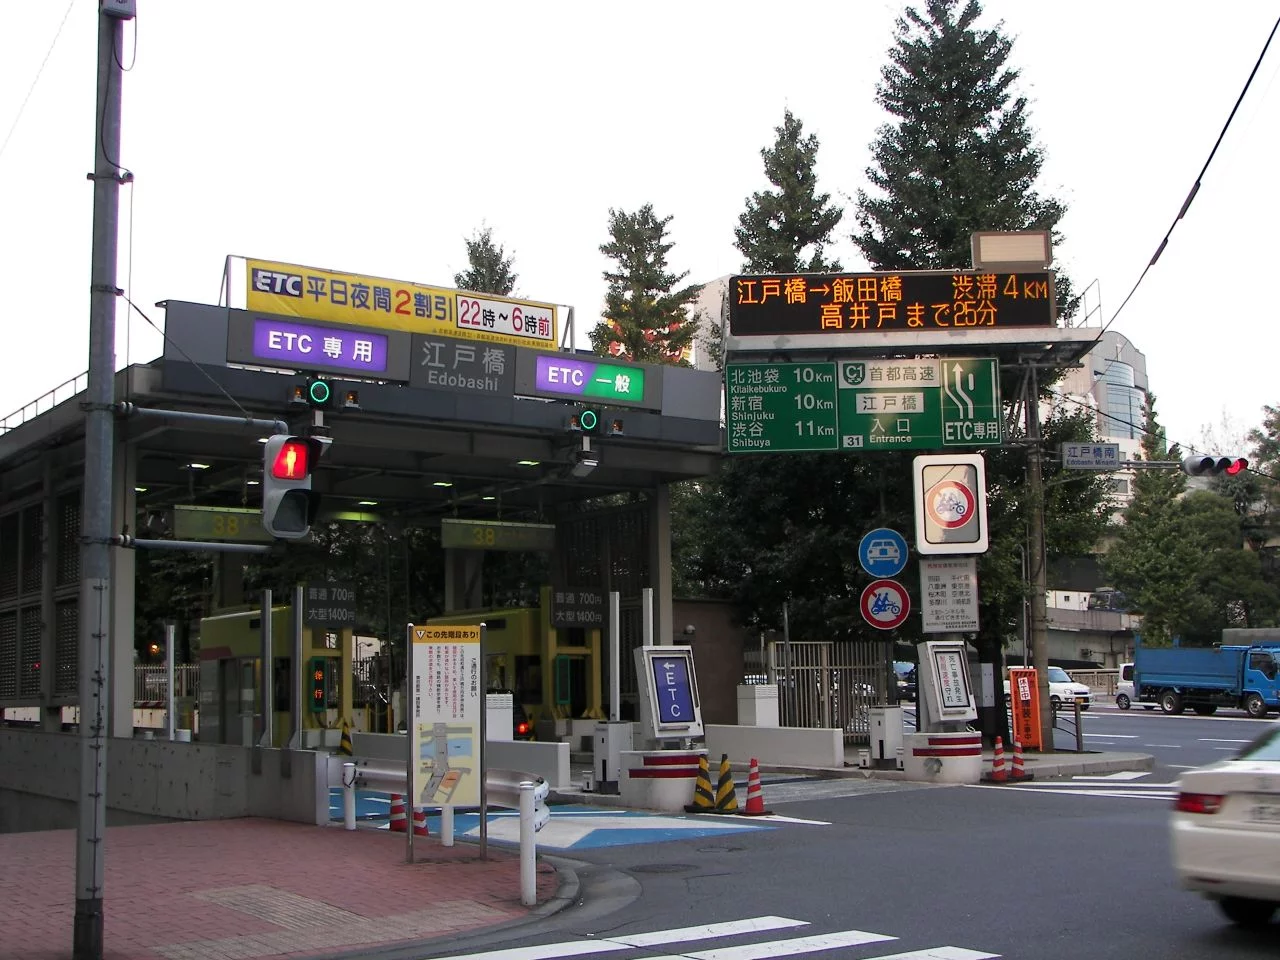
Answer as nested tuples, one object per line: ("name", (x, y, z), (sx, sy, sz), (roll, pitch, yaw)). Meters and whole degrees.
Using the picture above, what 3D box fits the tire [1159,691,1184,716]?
("tire", (18.426, 7.807, 49.575), (0.244, 0.716, 0.686), (10, 11, -25))

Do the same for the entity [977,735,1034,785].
("entity", (6.510, 5.126, 25.602), (0.931, 0.956, 0.747), (5, -15, -25))

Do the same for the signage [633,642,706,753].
("signage", (0.394, 3.518, 23.033), (1.085, 1.593, 0.357), (3, -12, -25))

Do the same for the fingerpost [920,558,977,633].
("fingerpost", (5.674, 2.111, 26.417), (1.035, 1.524, 0.157), (-3, 20, 10))

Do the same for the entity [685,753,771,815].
("entity", (1.301, 4.782, 21.815), (1.085, 0.791, 1.066), (-1, -13, 8))

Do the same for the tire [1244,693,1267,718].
("tire", (20.097, 7.380, 46.696), (0.322, 0.961, 0.902), (0, -1, -38))

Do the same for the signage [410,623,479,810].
("signage", (-2.374, 2.877, 17.381), (0.881, 2.177, 0.315), (0, -11, -11))

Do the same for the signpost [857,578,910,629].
("signpost", (4.462, 2.287, 26.210), (0.789, 0.872, 0.576), (-4, -11, 11))

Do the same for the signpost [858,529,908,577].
("signpost", (4.610, 1.402, 27.213), (0.947, 1.008, 0.128), (-20, 2, 8))

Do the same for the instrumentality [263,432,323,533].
("instrumentality", (-3.605, 0.078, 14.776), (0.555, 1.082, 0.506), (1, -11, -16))

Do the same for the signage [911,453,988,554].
("signage", (5.746, 0.477, 26.566), (1.797, 2.676, 0.256), (0, -7, 3))

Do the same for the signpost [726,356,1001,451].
("signpost", (4.744, -1.567, 30.141), (5.645, 2.143, 0.063), (-1, 27, 6))
